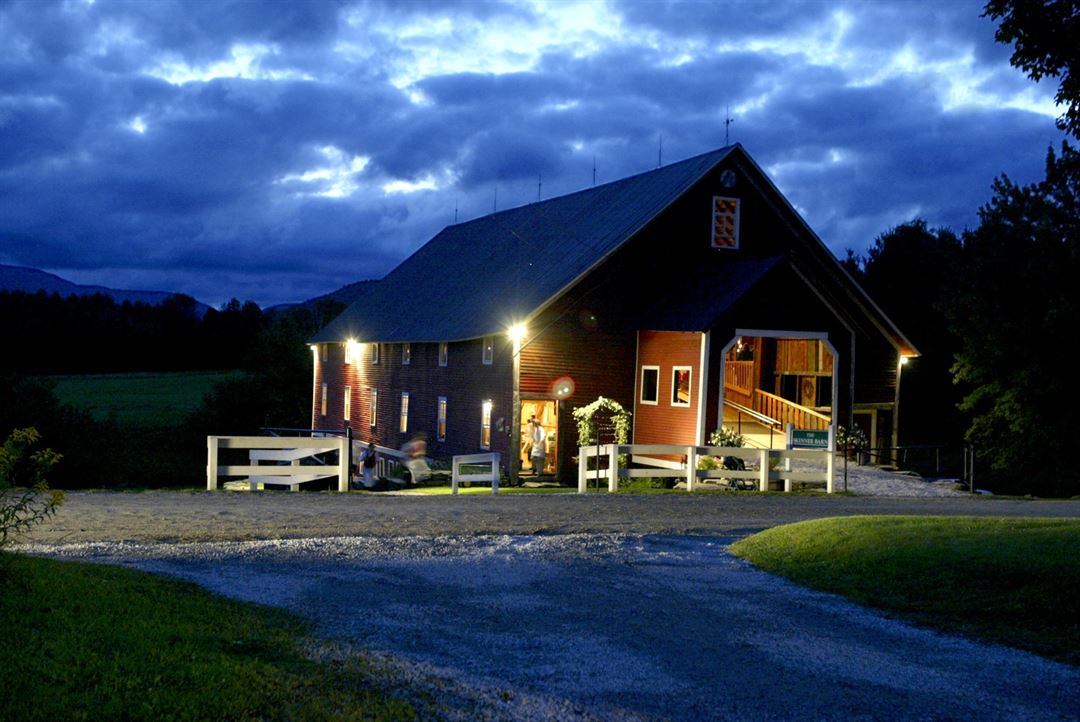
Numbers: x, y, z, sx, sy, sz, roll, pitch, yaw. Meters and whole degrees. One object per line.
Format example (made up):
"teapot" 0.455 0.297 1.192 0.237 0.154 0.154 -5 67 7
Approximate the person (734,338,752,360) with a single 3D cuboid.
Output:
"person" 8.858 -0.483 44.602 0.450 0.972 1.173 2 4 -29
